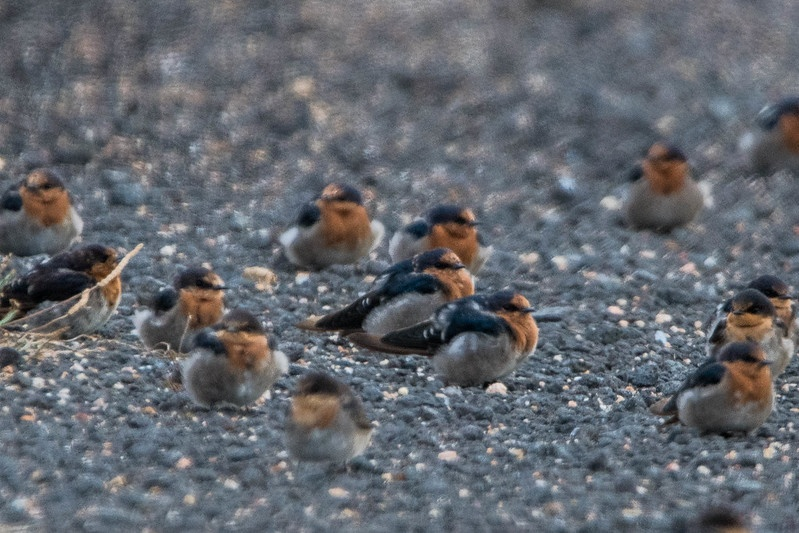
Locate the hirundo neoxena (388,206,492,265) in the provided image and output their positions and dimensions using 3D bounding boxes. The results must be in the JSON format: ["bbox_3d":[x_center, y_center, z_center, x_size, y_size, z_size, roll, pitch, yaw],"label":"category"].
[{"bbox_3d":[0.427,-0.353,11.959,0.698,1.016,0.533,-2,97,-39],"label":"hirundo neoxena"}]
